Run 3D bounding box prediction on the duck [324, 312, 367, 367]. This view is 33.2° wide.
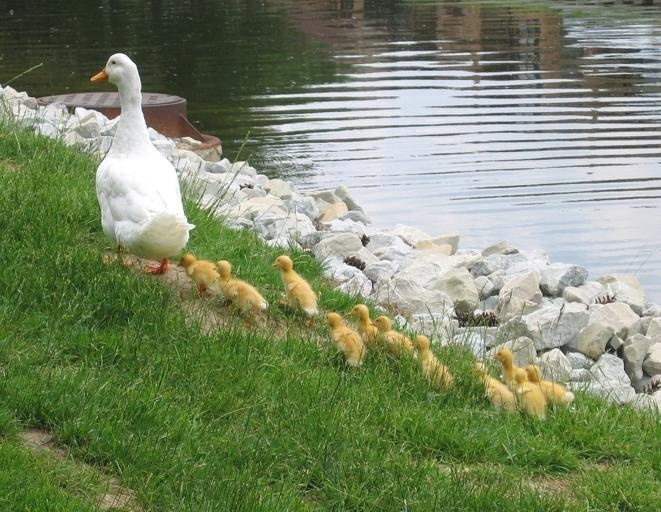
[{"bbox_3d":[0.211,1.018,13.695,0.367,0.721,0.484,-34,-26,4],"label":"duck"}]

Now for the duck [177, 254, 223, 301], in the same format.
[{"bbox_3d":[-1.620,0.259,14.083,0.687,0.468,0.355,21,38,34],"label":"duck"}]

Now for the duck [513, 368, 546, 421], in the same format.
[{"bbox_3d":[2.350,1.630,13.174,0.220,0.283,0.672,-2,29,-8],"label":"duck"}]

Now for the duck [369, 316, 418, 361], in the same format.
[{"bbox_3d":[0.830,1.030,13.968,0.730,0.489,0.343,11,4,-9],"label":"duck"}]

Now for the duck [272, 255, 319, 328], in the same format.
[{"bbox_3d":[-0.411,0.419,14.480,0.740,0.806,0.371,13,13,39],"label":"duck"}]

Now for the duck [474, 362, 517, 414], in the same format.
[{"bbox_3d":[1.970,1.567,13.276,0.278,0.301,0.755,-26,44,-16],"label":"duck"}]
